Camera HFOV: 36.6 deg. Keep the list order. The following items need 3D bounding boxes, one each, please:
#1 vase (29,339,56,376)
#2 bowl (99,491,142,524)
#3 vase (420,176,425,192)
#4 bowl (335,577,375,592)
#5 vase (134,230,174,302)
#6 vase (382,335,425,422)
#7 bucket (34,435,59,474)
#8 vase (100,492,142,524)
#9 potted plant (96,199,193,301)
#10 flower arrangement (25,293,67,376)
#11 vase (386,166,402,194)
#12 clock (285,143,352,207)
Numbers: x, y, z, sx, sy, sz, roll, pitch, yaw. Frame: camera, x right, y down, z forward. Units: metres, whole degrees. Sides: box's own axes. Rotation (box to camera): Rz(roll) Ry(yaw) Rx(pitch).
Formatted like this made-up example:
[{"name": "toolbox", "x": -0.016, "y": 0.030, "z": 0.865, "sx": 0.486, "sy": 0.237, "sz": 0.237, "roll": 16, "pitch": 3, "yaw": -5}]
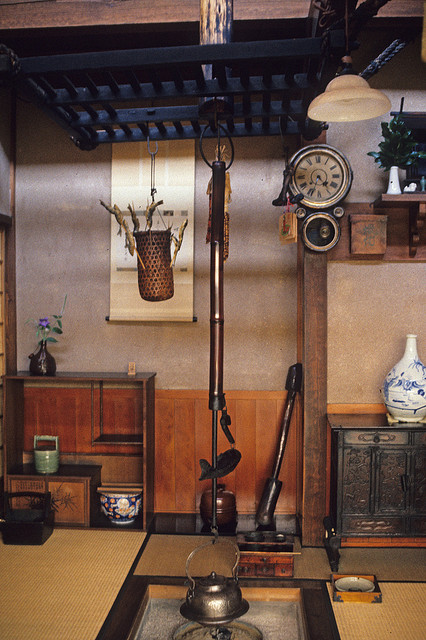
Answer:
[{"name": "vase", "x": -1.130, "y": 0.250, "z": 4.265, "sx": 0.233, "sy": 0.233, "sz": 0.124, "roll": 4, "pitch": 8, "yaw": 33}, {"name": "bowl", "x": -0.585, "y": 1.172, "z": 4.125, "sx": 0.238, "sy": 0.149, "sz": 0.235, "roll": 1, "pitch": -4, "yaw": 0}, {"name": "vase", "x": 1.221, "y": -0.794, "z": 3.785, "sx": 0.026, "sy": 0.088, "sz": 0.057, "roll": 2, "pitch": 7, "yaw": 16}, {"name": "bowl", "x": 0.701, "y": 1.326, "z": 3.215, "sx": 0.192, "sy": 0.037, "sz": 0.111, "roll": 1, "pitch": 6, "yaw": 7}, {"name": "vase", "x": -0.330, "y": -0.296, "z": 3.552, "sx": 0.203, "sy": 0.390, "sz": 0.187, "roll": -1, "pitch": 7, "yaw": -6}, {"name": "vase", "x": 1.109, "y": 0.341, "z": 3.733, "sx": 0.215, "sy": 0.489, "sz": 0.206, "roll": 0, "pitch": 7, "yaw": 0}, {"name": "bucket", "x": -1.109, "y": 0.876, "z": 4.290, "sx": 0.160, "sy": 0.211, "sz": 0.337, "roll": -2, "pitch": 7, "yaw": -14}, {"name": "vase", "x": -0.593, "y": 1.181, "z": 4.087, "sx": 0.225, "sy": 0.150, "sz": 0.226, "roll": 1, "pitch": -2, "yaw": 7}, {"name": "potted plant", "x": -0.314, "y": -0.397, "z": 3.644, "sx": 0.453, "sy": 0.594, "sz": 0.486, "roll": -6, "pitch": -8, "yaw": 16}, {"name": "flower arrangement", "x": -1.134, "y": 0.116, "z": 4.344, "sx": 0.240, "sy": 0.507, "sz": 0.184, "roll": 0, "pitch": -6, "yaw": -2}, {"name": "vase", "x": 1.082, "y": -0.833, "z": 3.863, "sx": 0.079, "sy": 0.159, "sz": 0.213, "roll": 2, "pitch": 7, "yaw": 15}, {"name": "clock", "x": 0.635, "y": -0.857, "z": 3.833, "sx": 0.354, "sy": 0.368, "sz": 0.116, "roll": 1, "pitch": 7, "yaw": 10}]
